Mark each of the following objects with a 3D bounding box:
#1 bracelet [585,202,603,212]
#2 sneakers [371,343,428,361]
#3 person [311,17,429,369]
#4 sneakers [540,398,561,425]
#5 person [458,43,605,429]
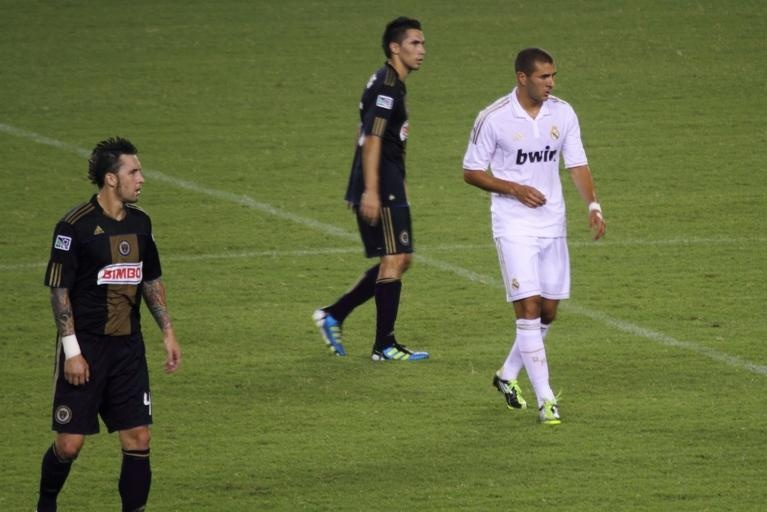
[{"bbox_3d":[1.884,-0.444,14.014,0.180,0.071,0.279,-4,6,7],"label":"bracelet"},{"bbox_3d":[0.125,0.906,14.861,0.596,0.173,0.182,-1,0,0],"label":"sneakers"},{"bbox_3d":[-0.017,-0.632,14.711,0.996,3.202,0.705,2,13,-1],"label":"person"},{"bbox_3d":[1.445,1.370,13.661,0.168,0.225,0.249,1,-7,2],"label":"sneakers"},{"bbox_3d":[1.423,-0.217,13.886,0.890,3.222,1.121,-11,19,-43],"label":"person"}]
